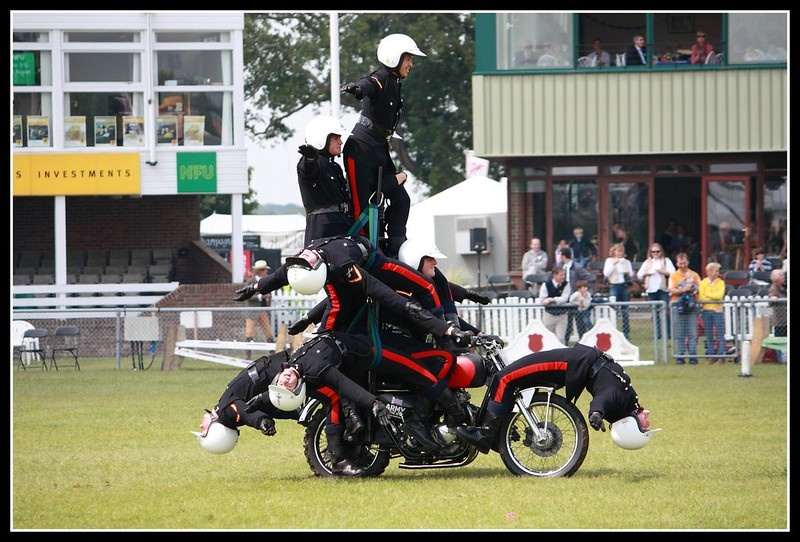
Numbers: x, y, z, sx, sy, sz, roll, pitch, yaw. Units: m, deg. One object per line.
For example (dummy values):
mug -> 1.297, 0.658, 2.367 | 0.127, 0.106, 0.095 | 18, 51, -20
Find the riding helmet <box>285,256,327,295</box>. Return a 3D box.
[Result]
riding helmet -> -1.516, 0.224, 30.530 | 0.456, 0.617, 0.503 | -9, 38, 10

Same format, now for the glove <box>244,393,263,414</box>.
glove -> -2.427, 2.206, 30.618 | 0.323, 0.243, 0.117 | -35, 19, -3

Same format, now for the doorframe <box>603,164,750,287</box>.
doorframe -> 6.544, -1.083, 43.954 | 2.869, 2.092, 0.394 | 0, -4, 3

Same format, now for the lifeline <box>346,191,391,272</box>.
lifeline -> -0.511, -0.690, 31.023 | 0.279, 1.110, 0.678 | 1, -27, 33

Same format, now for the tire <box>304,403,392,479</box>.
tire -> -0.849, 2.821, 30.590 | 1.186, 1.227, 0.311 | 2, -18, 12

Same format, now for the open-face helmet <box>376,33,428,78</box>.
open-face helmet -> 0.014, -3.718, 31.614 | 0.803, 0.689, 0.602 | 8, 7, 14

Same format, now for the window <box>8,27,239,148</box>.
window -> -6.845, -4.441, 43.927 | 5.396, 3.037, 0.273 | -1, 3, 0

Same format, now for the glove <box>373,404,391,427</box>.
glove -> -0.316, 2.382, 30.360 | 0.229, 0.381, 0.102 | -39, 17, -25

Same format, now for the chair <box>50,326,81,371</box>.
chair -> -7.454, 1.668, 41.068 | 0.759, 1.202, 0.986 | -1, -3, -7

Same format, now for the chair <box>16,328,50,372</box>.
chair -> -8.100, 1.713, 40.558 | 0.759, 1.167, 0.869 | 0, -3, -6

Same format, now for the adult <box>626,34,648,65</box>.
adult -> 5.710, -5.354, 44.746 | 0.723, 0.780, 0.434 | 0, 0, -30

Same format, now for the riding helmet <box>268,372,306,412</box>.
riding helmet -> -1.873, 2.084, 30.307 | 0.471, 0.487, 0.649 | 11, 37, -13

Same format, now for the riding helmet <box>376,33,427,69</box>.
riding helmet -> -0.023, -3.779, 31.504 | 0.708, 0.421, 0.513 | -1, 6, 13

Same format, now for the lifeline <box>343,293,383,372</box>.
lifeline -> -0.554, 1.023, 30.541 | 0.610, 1.147, 0.263 | 15, 6, 40

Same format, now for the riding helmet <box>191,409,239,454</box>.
riding helmet -> -3.143, 2.723, 30.786 | 0.770, 0.651, 0.582 | 10, 2, 10

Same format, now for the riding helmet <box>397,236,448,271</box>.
riding helmet -> 0.345, -0.297, 30.995 | 0.634, 0.428, 0.496 | 26, 1, 10

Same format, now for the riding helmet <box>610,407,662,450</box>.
riding helmet -> 3.856, 2.629, 30.403 | 0.746, 0.607, 0.562 | -5, -10, 11

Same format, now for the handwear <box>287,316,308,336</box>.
handwear -> -1.729, 0.955, 30.953 | 0.386, 0.216, 0.107 | -39, 4, -1

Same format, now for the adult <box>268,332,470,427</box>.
adult -> -0.671, 1.690, 30.453 | 2.161, 0.729, 1.931 | 5, -11, -28

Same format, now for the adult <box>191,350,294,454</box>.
adult -> -2.490, 2.227, 30.640 | 1.782, 0.544, 1.381 | -30, 33, -8

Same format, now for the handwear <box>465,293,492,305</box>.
handwear -> 1.299, 0.478, 31.091 | 0.302, 0.115, 0.226 | 13, -4, -8

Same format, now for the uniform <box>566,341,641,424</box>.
uniform -> 3.394, 1.952, 31.384 | 0.812, 0.593, 1.577 | 30, 31, -7

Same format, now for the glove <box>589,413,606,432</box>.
glove -> 3.196, 2.465, 30.116 | 0.303, 0.242, 0.276 | -1, -1, -14
